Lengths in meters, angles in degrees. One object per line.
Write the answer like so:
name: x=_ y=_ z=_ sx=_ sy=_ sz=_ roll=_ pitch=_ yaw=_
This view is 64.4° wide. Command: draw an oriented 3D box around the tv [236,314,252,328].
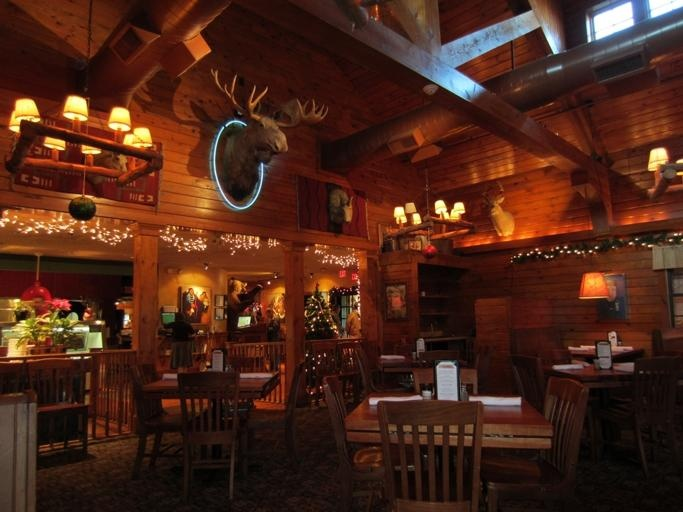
tv: x=-2.879 y=1.928 z=15.947 sx=0.250 sy=0.293 sz=0.472 roll=1 pitch=-2 yaw=38

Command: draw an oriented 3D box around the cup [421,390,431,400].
cup: x=0.715 y=1.186 z=4.596 sx=0.069 sy=0.069 sz=0.068 roll=0 pitch=3 yaw=0

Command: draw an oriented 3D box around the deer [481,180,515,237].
deer: x=3.293 y=-0.934 z=11.510 sx=0.592 sy=1.364 sz=0.569 roll=-17 pitch=22 yaw=14

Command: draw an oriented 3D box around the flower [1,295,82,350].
flower: x=-4.781 y=1.106 z=8.835 sx=1.249 sy=0.795 sz=1.104 roll=3 pitch=-3 yaw=-2

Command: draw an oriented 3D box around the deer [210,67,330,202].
deer: x=-1.228 y=-1.683 z=8.376 sx=1.985 sy=1.709 sz=1.336 roll=0 pitch=3 yaw=-43
